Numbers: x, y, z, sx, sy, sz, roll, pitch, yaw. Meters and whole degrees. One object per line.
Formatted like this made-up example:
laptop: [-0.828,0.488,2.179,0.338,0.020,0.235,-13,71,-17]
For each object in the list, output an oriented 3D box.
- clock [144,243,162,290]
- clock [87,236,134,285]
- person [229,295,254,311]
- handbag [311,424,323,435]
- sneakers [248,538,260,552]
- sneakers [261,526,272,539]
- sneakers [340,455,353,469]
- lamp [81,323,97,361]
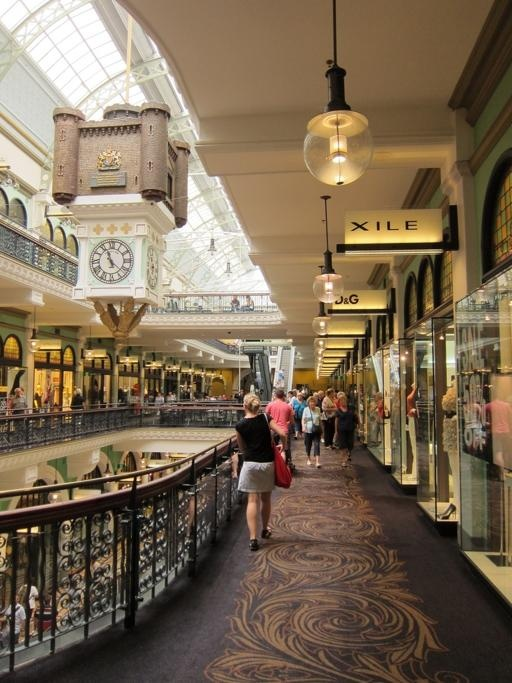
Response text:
clock: [-2.429,-1.709,11.975,0.068,1.050,1.124,-4,12,-24]
clock: [-3.240,-1.737,11.350,0.958,0.995,0.110,11,-12,6]
person: [-0.639,-1.731,24.007,1.288,0.678,0.900,-2,10,2]
handbag: [1.192,1.726,10.058,0.214,0.194,0.201,3,3,-5]
sneakers: [-0.033,1.805,4.587,0.063,0.061,0.144,1,-1,6]
sneakers: [0.103,1.854,4.988,0.070,0.079,0.185,-2,-26,4]
sneakers: [1.828,2.414,10.307,0.187,0.263,0.598,-2,-24,5]
lamp: [-7.450,0.071,22.281,0.488,1.432,1.071,7,-6,-17]
